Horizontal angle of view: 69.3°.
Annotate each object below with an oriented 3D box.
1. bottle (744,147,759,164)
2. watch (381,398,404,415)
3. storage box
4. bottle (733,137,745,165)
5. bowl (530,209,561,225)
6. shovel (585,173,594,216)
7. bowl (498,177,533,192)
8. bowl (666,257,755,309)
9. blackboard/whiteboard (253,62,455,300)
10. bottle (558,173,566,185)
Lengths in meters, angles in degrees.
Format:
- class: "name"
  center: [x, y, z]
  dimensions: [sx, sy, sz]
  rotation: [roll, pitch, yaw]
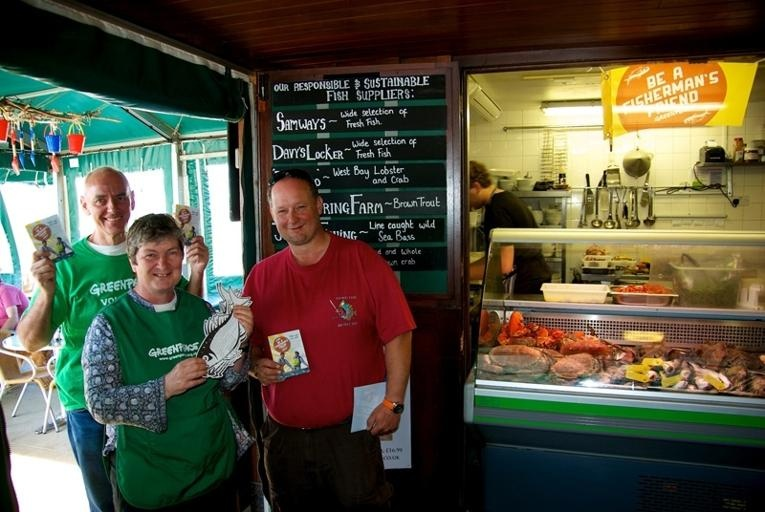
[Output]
- class: "bottle"
  center: [4.445, -1.209, 6.677]
  dimensions: [0.178, 0.151, 0.175]
  rotation: [2, 5, 24]
- class: "watch"
  center: [0.061, 0.816, 2.982]
  dimensions: [0.111, 0.066, 0.103]
  rotation: [29, -42, -27]
- class: "storage box"
  center: [1.919, 0.152, 3.272]
  dimensions: [0.531, 0.344, 0.286]
  rotation: [2, 11, 25]
- class: "bottle"
  center: [4.369, -1.298, 6.785]
  dimensions: [0.124, 0.316, 0.281]
  rotation: [0, 8, 32]
- class: "bowl"
  center: [1.993, -0.462, 6.848]
  dimensions: [0.359, 0.185, 0.326]
  rotation: [-1, -1, 30]
- class: "shovel"
  center: [2.708, -0.811, 7.274]
  dimensions: [0.106, 0.545, 0.155]
  rotation: [-3, 7, 11]
- class: "bowl"
  center: [1.628, -0.876, 6.815]
  dimensions: [0.451, 0.156, 0.443]
  rotation: [0, 1, 0]
- class: "bowl"
  center: [1.948, 0.147, 3.261]
  dimensions: [0.346, 0.195, 0.353]
  rotation: [-1, 5, 0]
- class: "blackboard/whiteboard"
  center: [-0.119, -0.508, 3.694]
  dimensions: [1.897, 1.997, 0.084]
  rotation: [-1, -1, 5]
- class: "bottle"
  center: [2.358, -1.032, 7.295]
  dimensions: [0.089, 0.129, 0.219]
  rotation: [-2, 7, 17]
